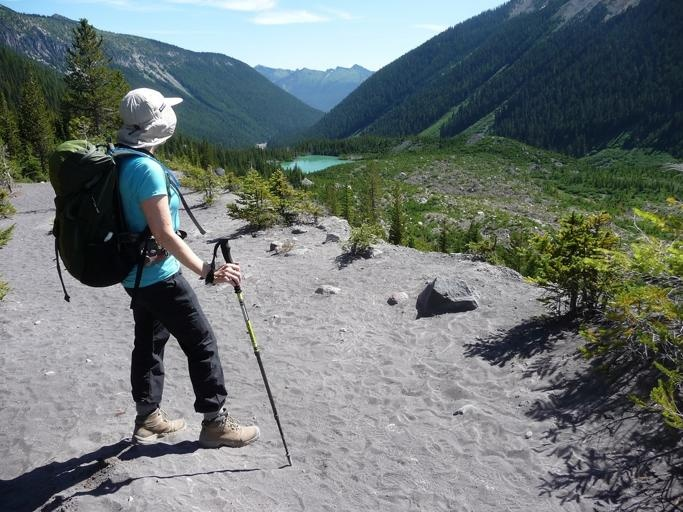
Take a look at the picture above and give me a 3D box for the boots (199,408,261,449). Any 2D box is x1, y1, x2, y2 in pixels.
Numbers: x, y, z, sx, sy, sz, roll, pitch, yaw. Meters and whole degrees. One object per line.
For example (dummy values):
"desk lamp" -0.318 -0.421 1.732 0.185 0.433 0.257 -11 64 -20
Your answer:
"boots" -1.925 2.970 9.248 1.157 0.660 0.478 1 9 -23

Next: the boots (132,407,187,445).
"boots" -3.054 2.832 9.377 0.375 0.508 1.049 8 4 34

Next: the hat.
"hat" -2.978 -2.117 8.494 0.872 0.964 0.852 3 29 -17
